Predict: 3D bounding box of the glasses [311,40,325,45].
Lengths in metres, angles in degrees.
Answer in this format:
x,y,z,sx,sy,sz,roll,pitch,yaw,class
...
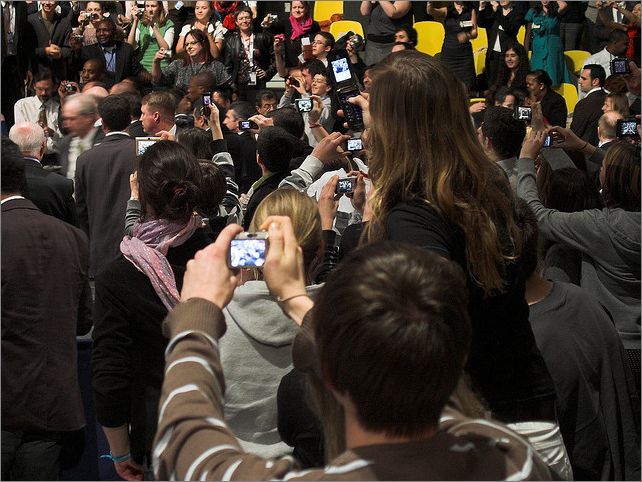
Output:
x,y,z,sx,sy,sz,roll,pitch,yaw,class
-0.045,-2.734,8.798,0.079,0.066,0.213,-15,19,-40,glasses

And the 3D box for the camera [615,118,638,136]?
x,y,z,sx,sy,sz,roll,pitch,yaw,class
2.337,-0.868,4.876,0.136,0.135,0.144,1,16,8,camera

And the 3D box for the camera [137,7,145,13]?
x,y,z,sx,sy,sz,roll,pitch,yaw,class
-2.856,-3.667,10.099,0.094,0.099,0.025,6,-1,38,camera

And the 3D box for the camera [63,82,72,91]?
x,y,z,sx,sy,sz,roll,pitch,yaw,class
-3.215,-1.949,8.069,0.074,0.112,0.031,-1,-3,-10,camera

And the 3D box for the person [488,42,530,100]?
x,y,z,sx,sy,sz,roll,pitch,yaw,class
2.779,-2.235,9.216,0.530,1.239,0.423,0,32,18,person

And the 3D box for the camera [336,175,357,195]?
x,y,z,sx,sy,sz,roll,pitch,yaw,class
0.137,-0.290,3.390,0.123,0.089,0.047,-9,15,-21,camera

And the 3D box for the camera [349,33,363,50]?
x,y,z,sx,sy,sz,roll,pitch,yaw,class
0.470,-2.743,8.689,0.150,0.309,0.113,-1,-2,15,camera

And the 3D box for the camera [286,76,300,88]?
x,y,z,sx,sy,sz,roll,pitch,yaw,class
-0.371,-2.077,8.348,0.141,0.091,0.212,18,-3,5,camera

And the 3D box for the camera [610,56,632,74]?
x,y,z,sx,sy,sz,roll,pitch,yaw,class
3.083,-1.801,6.546,0.170,0.151,0.314,3,16,23,camera

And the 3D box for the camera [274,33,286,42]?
x,y,z,sx,sy,sz,roll,pitch,yaw,class
-0.633,-3.048,9.514,0.128,0.105,0.382,-4,15,-4,camera

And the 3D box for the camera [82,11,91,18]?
x,y,z,sx,sy,sz,roll,pitch,yaw,class
-3.469,-3.343,9.426,0.090,0.101,0.024,2,4,6,camera

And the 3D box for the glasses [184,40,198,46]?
x,y,z,sx,sy,sz,roll,pitch,yaw,class
-1.840,-2.761,8.933,0.082,0.079,0.274,-16,19,-41,glasses
